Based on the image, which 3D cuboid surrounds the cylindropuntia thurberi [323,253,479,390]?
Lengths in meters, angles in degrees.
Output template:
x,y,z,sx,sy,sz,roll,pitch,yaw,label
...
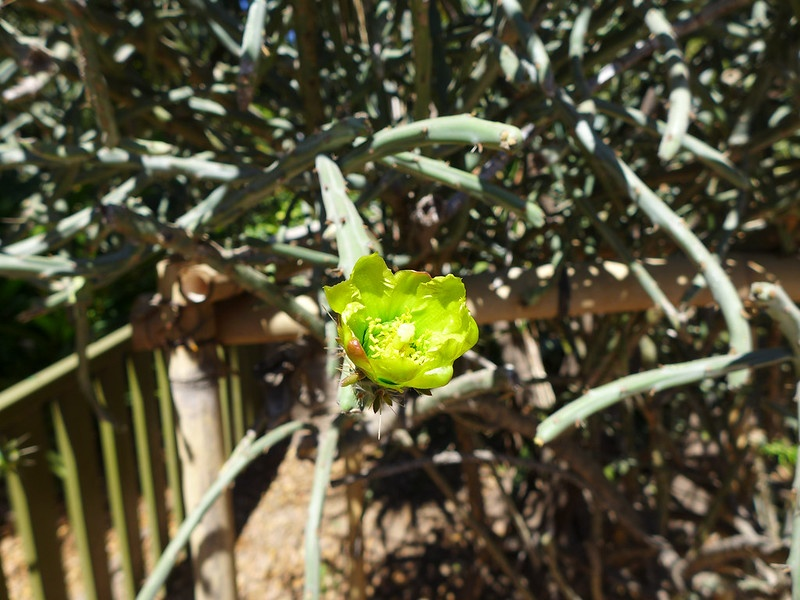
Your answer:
x,y,z,sx,sy,sz,roll,pitch,yaw,label
-0.013,0.062,1.448,0.252,0.142,0.246,26,55,35,cylindropuntia thurberi
